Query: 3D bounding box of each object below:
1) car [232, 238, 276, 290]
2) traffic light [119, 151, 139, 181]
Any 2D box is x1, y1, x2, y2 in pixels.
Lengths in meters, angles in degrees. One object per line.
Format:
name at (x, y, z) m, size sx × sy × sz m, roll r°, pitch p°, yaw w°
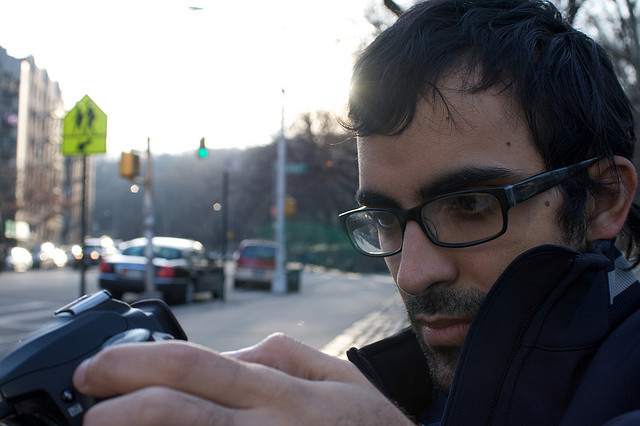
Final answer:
car at (-2.044, 1.557, 21.273) m, size 1.431 × 1.452 × 3.182 m, roll 1°, pitch 0°, yaw 2°
traffic light at (-1.786, -0.432, 6.380) m, size 0.190 × 0.220 × 0.327 m, roll 1°, pitch 38°, yaw -19°
